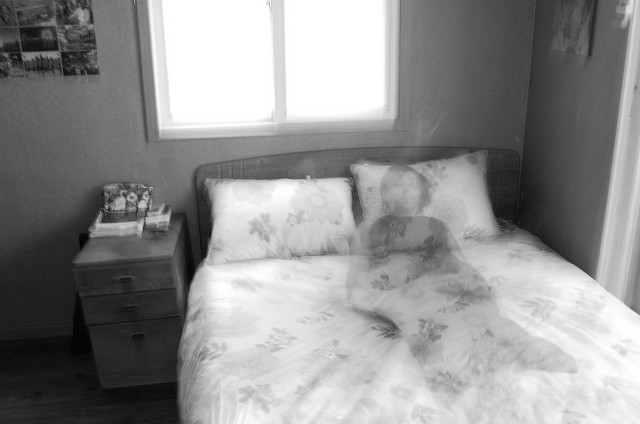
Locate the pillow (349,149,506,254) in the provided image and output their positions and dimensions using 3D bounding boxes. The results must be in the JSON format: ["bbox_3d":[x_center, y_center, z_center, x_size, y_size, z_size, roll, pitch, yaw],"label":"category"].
[{"bbox_3d":[0.700,-0.082,2.629,0.793,0.543,0.214,-4,-15,-17],"label":"pillow"}]

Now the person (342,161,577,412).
[{"bbox_3d":[0.450,0.232,1.842,0.673,0.397,1.282,-13,25,-5],"label":"person"}]

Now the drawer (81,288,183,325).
[{"bbox_3d":[-0.970,0.498,2.282,0.292,0.083,0.260,-2,13,-12],"label":"drawer"}]

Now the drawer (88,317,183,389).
[{"bbox_3d":[-0.972,0.735,2.443,0.430,0.301,0.231,-5,11,-8],"label":"drawer"}]

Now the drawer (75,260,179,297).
[{"bbox_3d":[-0.976,0.346,2.247,0.327,0.142,0.233,-4,17,-14],"label":"drawer"}]
